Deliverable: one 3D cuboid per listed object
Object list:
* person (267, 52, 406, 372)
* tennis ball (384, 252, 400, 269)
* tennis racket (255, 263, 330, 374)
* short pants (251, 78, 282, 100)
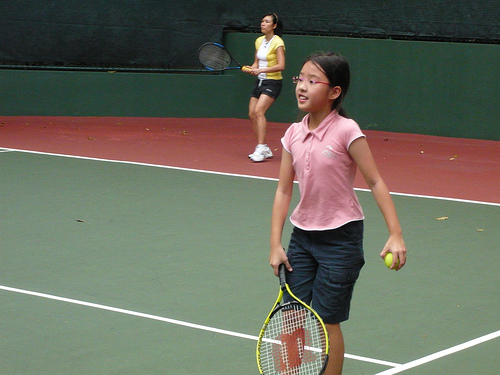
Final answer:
[{"bbox_3d":[0.484,0.134,2.792,0.741,1.675,0.678,5,22,15],"label":"person"},{"bbox_3d":[0.721,0.380,2.601,0.075,0.088,0.075,-3,-2,0],"label":"tennis ball"},{"bbox_3d":[0.226,0.859,2.725,0.355,0.767,0.643,0,21,4],"label":"tennis racket"},{"bbox_3d":[0.298,-1.565,7.939,0.438,0.410,0.306,2,-9,45],"label":"short pants"}]
